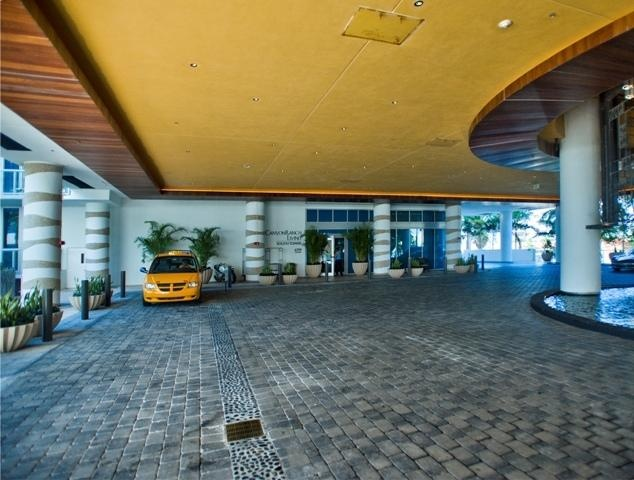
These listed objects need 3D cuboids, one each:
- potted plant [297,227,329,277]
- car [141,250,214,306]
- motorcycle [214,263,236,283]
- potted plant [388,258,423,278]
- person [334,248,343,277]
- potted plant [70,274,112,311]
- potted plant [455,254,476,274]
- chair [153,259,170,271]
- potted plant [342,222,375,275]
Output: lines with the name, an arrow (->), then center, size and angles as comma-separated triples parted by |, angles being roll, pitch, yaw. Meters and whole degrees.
potted plant -> -0.138, 0.702, 21.740 | 1.772, 2.414, 1.663 | 4, -4, -38
car -> -4.828, 0.979, 13.147 | 1.994, 1.296, 3.151 | -1, 16, -17
motorcycle -> -4.838, 1.728, 19.982 | 1.490, 0.705, 0.818 | -2, 0, 15
potted plant -> 5.246, 1.589, 21.574 | 2.252, 0.679, 0.937 | 1, -7, -7
person -> 1.386, 1.324, 23.276 | 0.651, 1.540, 0.214 | -5, 4, -35
potted plant -> -6.908, 1.640, 11.538 | 0.766, 0.944, 2.021 | -3, 3, -22
potted plant -> 9.048, 1.578, 23.813 | 1.129, 1.056, 1.272 | 8, -9, -36
chair -> -5.296, 0.860, 12.986 | 0.356, 0.459, 0.140 | 7, -33, -23
potted plant -> 2.651, 0.579, 22.401 | 1.628, 2.997, 2.852 | -2, 3, 2
